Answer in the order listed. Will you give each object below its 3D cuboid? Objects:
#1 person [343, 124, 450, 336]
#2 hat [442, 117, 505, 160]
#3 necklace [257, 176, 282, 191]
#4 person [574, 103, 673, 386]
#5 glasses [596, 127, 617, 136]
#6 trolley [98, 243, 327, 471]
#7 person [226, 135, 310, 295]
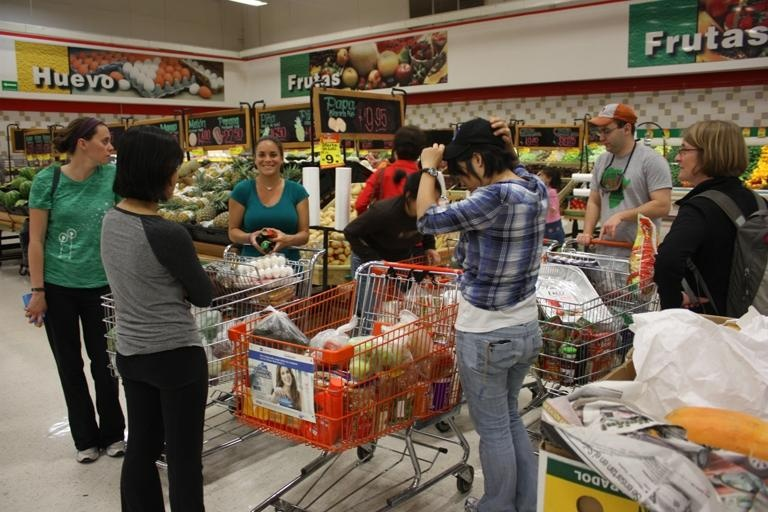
[{"bbox_3d":[0.010,-0.291,3.926,0.730,1.529,0.702,16,28,29],"label":"person"},{"bbox_3d":[0.427,-0.555,2.444,0.288,0.195,0.169,2,15,12],"label":"hat"},{"bbox_3d":[-0.959,-0.605,4.294,0.130,0.062,0.177,0,-7,-5],"label":"necklace"},{"bbox_3d":[1.665,0.093,4.037,0.841,2.461,0.772,-5,10,-34],"label":"person"},{"bbox_3d":[1.776,-0.993,4.064,0.111,0.029,0.083,-2,4,-14],"label":"glasses"},{"bbox_3d":[-1.005,0.644,3.861,1.554,1.476,1.342,-5,19,-20],"label":"trolley"},{"bbox_3d":[-0.931,-0.378,4.142,0.488,1.366,0.440,-2,9,-14],"label":"person"}]
